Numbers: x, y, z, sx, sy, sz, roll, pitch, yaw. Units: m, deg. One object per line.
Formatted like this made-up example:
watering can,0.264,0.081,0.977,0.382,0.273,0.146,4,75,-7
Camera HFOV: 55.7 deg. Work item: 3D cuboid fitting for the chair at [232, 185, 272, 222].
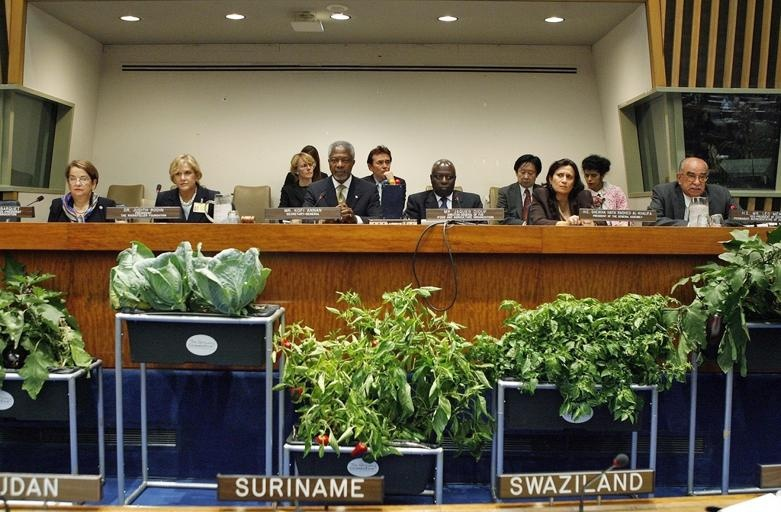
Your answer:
chair,-1.481,-0.563,7.876,0.353,0.431,0.522,-1,14,-8

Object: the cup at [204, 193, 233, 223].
cup,-1.163,-0.326,4.860,0.230,0.244,0.144,0,3,-22

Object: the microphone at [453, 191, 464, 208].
microphone,0.508,-0.424,5.556,0.066,0.109,0.106,26,8,-6

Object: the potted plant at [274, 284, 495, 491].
potted plant,-0.027,0.736,4.649,1.058,0.841,1.100,0,-1,0

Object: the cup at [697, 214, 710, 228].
cup,2.031,-0.234,4.762,0.077,0.085,0.076,2,16,-1

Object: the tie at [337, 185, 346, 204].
tie,-0.379,-0.486,5.786,0.081,0.158,0.042,9,3,-18

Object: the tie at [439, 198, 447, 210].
tie,0.394,-0.408,5.560,0.061,0.108,0.031,-4,-8,2

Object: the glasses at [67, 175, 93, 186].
glasses,-2.298,-0.561,5.477,0.162,0.071,0.084,0,-2,-38

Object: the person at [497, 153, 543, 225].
person,1.203,-0.544,6.670,0.462,0.732,0.553,2,8,0

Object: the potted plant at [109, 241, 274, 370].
potted plant,-1.180,0.296,4.293,0.748,0.386,0.754,-1,-13,-13

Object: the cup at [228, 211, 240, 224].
cup,-1.015,-0.249,4.807,0.079,0.090,0.078,-1,-6,0
